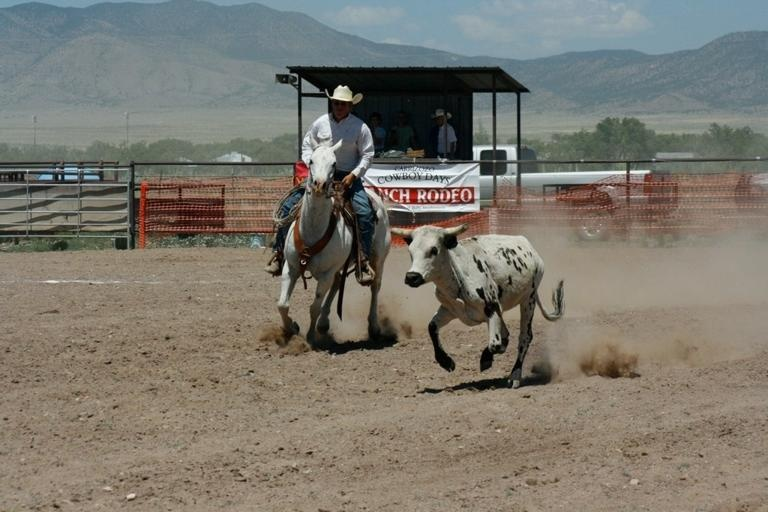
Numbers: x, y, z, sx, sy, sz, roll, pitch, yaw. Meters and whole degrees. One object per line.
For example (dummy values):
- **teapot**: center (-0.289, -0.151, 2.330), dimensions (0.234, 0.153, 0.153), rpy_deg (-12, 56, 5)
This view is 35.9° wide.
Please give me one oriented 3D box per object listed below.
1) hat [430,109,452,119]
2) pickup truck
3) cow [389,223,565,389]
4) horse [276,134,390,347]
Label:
- **hat**: center (1.543, -3.725, 30.834), dimensions (0.433, 0.186, 0.490), rpy_deg (-2, -3, 9)
- **pickup truck**: center (5.158, -1.912, 31.317), dimensions (4.714, 1.985, 2.978), rpy_deg (2, -1, 3)
- **cow**: center (1.582, 0.744, 18.896), dimensions (2.748, 2.641, 1.139), rpy_deg (-7, 9, -38)
- **horse**: center (-0.963, -0.327, 21.607), dimensions (1.932, 3.599, 3.674), rpy_deg (2, 8, 24)
